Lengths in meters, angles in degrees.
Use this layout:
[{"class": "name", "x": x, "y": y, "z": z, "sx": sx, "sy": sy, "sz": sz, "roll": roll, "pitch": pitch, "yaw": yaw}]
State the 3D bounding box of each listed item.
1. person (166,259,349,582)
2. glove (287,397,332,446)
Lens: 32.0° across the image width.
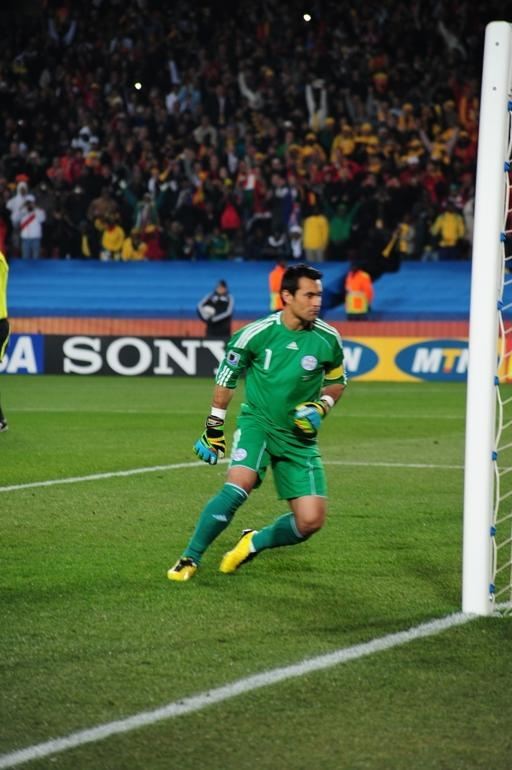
[{"class": "person", "x": 0.013, "y": 0.158, "z": 3.660, "sx": 0.692, "sy": 1.285, "sz": 0.403, "roll": 1, "pitch": 7, "yaw": 4}, {"class": "glove", "x": 0.229, "y": 0.124, "z": 3.516, "sx": 0.175, "sy": 0.116, "sz": 0.068, "roll": -26, "pitch": 49, "yaw": -21}]
